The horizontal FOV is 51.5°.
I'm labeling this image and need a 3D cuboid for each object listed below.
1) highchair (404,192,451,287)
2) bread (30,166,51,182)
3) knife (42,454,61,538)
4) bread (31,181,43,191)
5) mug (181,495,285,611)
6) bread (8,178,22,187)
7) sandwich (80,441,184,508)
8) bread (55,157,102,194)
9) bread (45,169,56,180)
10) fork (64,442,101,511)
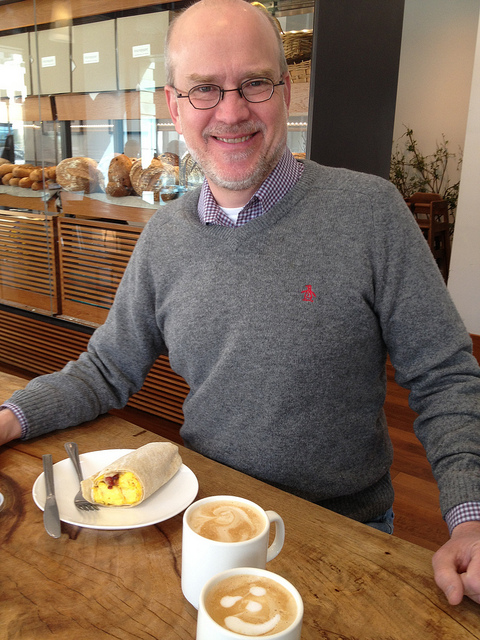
[{"bbox_3d":[2.186,-0.870,5.378,0.473,0.754,0.466,16,23,25],"label":"highchair"},{"bbox_3d":[-1.090,-0.788,2.706,0.058,0.037,0.096,7,26,33],"label":"bread"},{"bbox_3d":[-0.270,0.242,0.705,0.021,0.010,0.172,5,23,-26],"label":"knife"},{"bbox_3d":[-1.105,-0.731,2.713,0.050,0.059,0.021,12,35,1],"label":"bread"},{"bbox_3d":[-0.002,0.247,0.530,0.136,0.099,0.082,1,15,-35],"label":"mug"},{"bbox_3d":[-1.292,-0.776,2.841,0.062,0.027,0.066,0,6,-4],"label":"bread"},{"bbox_3d":[-0.155,0.213,0.745,0.072,0.042,0.126,12,22,30],"label":"sandwich"},{"bbox_3d":[-0.809,-0.721,2.535,0.213,0.190,0.219,-1,15,-3],"label":"bread"},{"bbox_3d":[-0.996,-0.763,2.614,0.056,0.038,0.060,-4,13,12],"label":"bread"},{"bbox_3d":[-0.248,0.243,0.765,0.036,0.020,0.200,1,23,-23],"label":"fork"}]
